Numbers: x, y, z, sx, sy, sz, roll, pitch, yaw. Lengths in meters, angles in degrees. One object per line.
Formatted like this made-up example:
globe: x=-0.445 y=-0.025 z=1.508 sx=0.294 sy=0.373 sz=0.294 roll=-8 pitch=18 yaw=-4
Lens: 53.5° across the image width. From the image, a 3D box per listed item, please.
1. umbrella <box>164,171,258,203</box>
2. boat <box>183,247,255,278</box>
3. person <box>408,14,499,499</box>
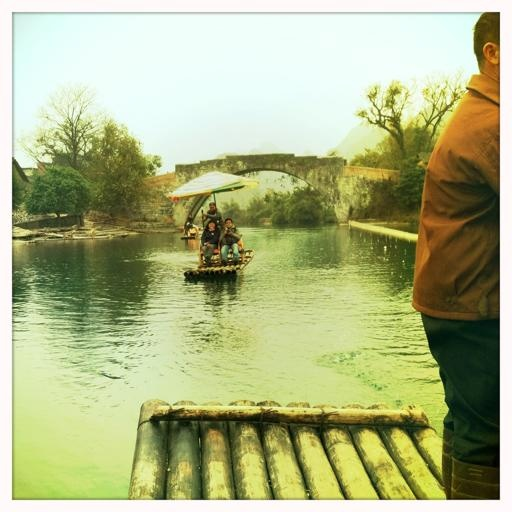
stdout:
umbrella: x=-1.415 y=-2.406 z=16.999 sx=2.556 sy=0.792 sz=1.891 roll=-5 pitch=6 yaw=-29
boat: x=-1.246 y=0.280 z=15.903 sx=2.082 sy=0.696 sz=1.317 roll=-3 pitch=6 yaw=-16
person: x=1.164 y=0.029 z=2.926 sx=0.458 sy=2.818 sz=0.463 roll=0 pitch=5 yaw=19
